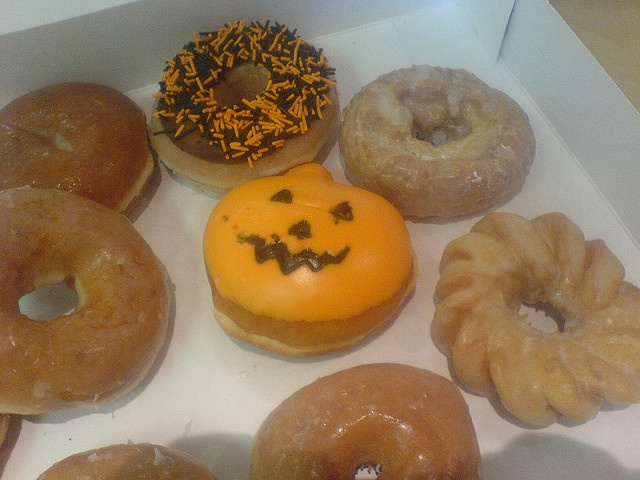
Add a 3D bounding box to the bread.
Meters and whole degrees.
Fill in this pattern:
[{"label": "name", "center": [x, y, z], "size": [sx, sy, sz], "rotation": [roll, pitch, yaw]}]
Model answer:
[{"label": "bread", "center": [-0.040, 0.064, 2.296], "size": [0.720, 0.313, 0.747], "rotation": [2, 47, 3]}]
